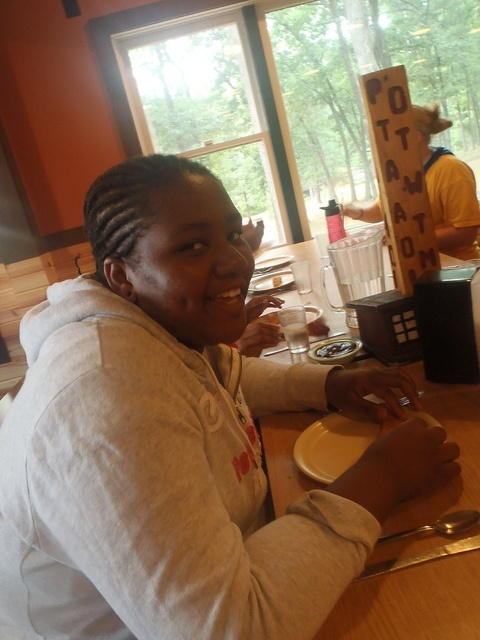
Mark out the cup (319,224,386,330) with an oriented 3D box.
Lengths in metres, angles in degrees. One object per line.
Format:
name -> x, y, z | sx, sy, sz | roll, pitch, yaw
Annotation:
cup -> 0.333, -0.092, 1.490 | 0.211, 0.229, 0.144 | -10, -3, 29

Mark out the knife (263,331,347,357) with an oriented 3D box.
knife -> 0.179, 0.065, 1.377 | 0.253, 0.011, 0.026 | -12, 31, -23

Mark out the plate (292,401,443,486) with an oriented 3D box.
plate -> 0.161, 0.211, 0.843 | 0.148, 0.142, 0.017 | -25, 34, 12

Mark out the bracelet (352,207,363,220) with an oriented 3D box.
bracelet -> 0.738, -0.660, 3.215 | 0.081, 0.065, 0.075 | -8, 17, -22
